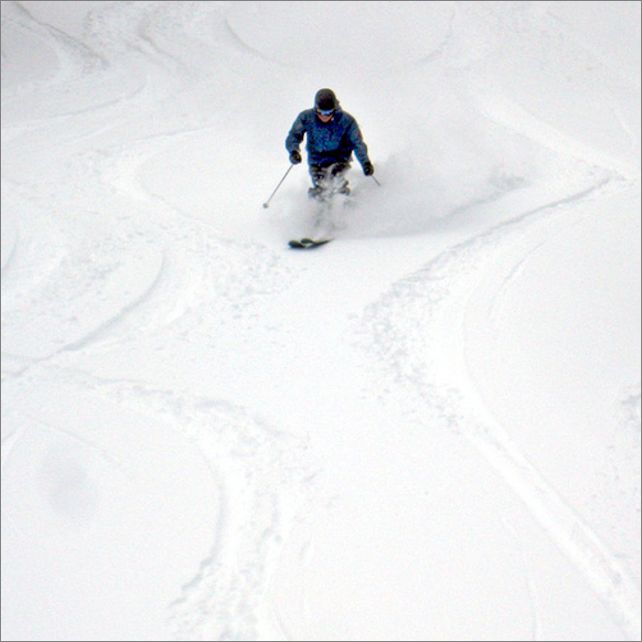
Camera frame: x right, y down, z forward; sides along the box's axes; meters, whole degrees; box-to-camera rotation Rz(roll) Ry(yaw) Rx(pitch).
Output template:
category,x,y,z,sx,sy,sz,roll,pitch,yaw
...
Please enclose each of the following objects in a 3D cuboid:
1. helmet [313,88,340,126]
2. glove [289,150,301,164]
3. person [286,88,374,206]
category,x,y,z,sx,sy,sz,roll,pitch,yaw
helmet,0.038,-1.891,7.815,0.204,0.329,0.275,6,39,5
glove,-0.243,-1.469,7.988,0.113,0.038,0.113,1,80,-15
person,0.097,-1.455,8.226,0.781,1.400,0.477,2,41,6
